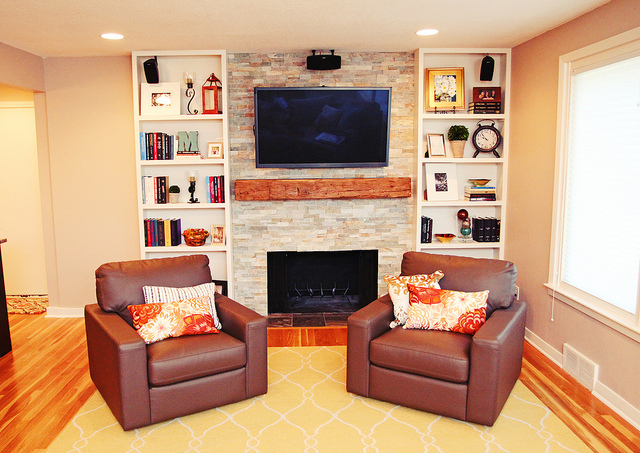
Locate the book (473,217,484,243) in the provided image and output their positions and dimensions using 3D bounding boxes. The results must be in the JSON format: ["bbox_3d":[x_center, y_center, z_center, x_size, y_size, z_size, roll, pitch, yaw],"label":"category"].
[{"bbox_3d":[1.848,0.044,5.521,0.163,0.241,0.269,2,7,5],"label":"book"}]

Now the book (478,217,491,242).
[{"bbox_3d":[1.940,0.038,5.536,0.080,0.261,0.103,0,10,6],"label":"book"}]

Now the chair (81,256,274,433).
[{"bbox_3d":[-1.198,0.928,4.161,1.513,1.208,0.903,-6,11,-25],"label":"chair"}]

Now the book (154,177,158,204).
[{"bbox_3d":[-1.895,-0.413,5.445,0.047,0.293,0.025,0,10,6],"label":"book"}]

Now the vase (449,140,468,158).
[{"bbox_3d":[1.593,-0.898,5.555,0.229,0.182,0.204,0,4,-7],"label":"vase"}]

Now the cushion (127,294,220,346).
[{"bbox_3d":[-1.259,0.779,3.991,0.824,0.293,0.327,-4,32,-26],"label":"cushion"}]

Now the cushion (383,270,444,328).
[{"bbox_3d":[0.758,0.599,4.201,0.546,0.479,0.155,-6,-31,18],"label":"cushion"}]

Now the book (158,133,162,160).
[{"bbox_3d":[-1.825,-0.912,5.389,0.059,0.287,0.027,-2,10,-3],"label":"book"}]

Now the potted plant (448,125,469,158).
[{"bbox_3d":[1.593,-0.985,5.486,0.218,0.374,0.159,2,11,21],"label":"potted plant"}]

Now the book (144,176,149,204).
[{"bbox_3d":[-2.000,-0.412,5.432,0.046,0.305,0.046,-1,10,4],"label":"book"}]

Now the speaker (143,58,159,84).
[{"bbox_3d":[-1.883,-1.728,5.288,0.154,0.250,0.159,-5,11,-21],"label":"speaker"}]

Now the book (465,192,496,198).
[{"bbox_3d":[1.855,-0.359,5.490,0.334,0.055,0.089,0,9,9],"label":"book"}]

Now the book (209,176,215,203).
[{"bbox_3d":[-1.247,-0.424,5.450,0.054,0.287,0.024,-2,10,-2],"label":"book"}]

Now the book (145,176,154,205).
[{"bbox_3d":[-1.958,-0.414,5.437,0.110,0.306,0.054,-5,11,-17],"label":"book"}]

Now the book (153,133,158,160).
[{"bbox_3d":[-1.876,-0.908,5.383,0.047,0.294,0.037,-1,10,1],"label":"book"}]

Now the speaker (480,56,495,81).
[{"bbox_3d":[1.873,-1.773,5.328,0.141,0.262,0.198,1,10,15],"label":"speaker"}]

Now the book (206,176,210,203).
[{"bbox_3d":[-1.299,-0.421,5.453,0.059,0.293,0.033,4,12,26],"label":"book"}]

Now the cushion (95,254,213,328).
[{"bbox_3d":[-1.441,0.610,4.315,1.100,0.631,0.368,-6,-14,-15],"label":"cushion"}]

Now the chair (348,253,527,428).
[{"bbox_3d":[1.069,0.914,4.241,1.469,0.965,1.495,-13,16,-35],"label":"chair"}]

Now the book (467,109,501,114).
[{"bbox_3d":[1.875,-1.306,5.413,0.344,0.058,0.115,0,9,6],"label":"book"}]

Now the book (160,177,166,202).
[{"bbox_3d":[-1.808,-0.428,5.460,0.070,0.281,0.014,-10,13,-39],"label":"book"}]

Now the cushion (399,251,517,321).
[{"bbox_3d":[1.244,0.574,4.434,1.099,0.604,0.363,4,11,22],"label":"cushion"}]

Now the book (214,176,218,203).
[{"bbox_3d":[-1.205,-0.424,5.453,0.038,0.287,0.027,0,11,9],"label":"book"}]

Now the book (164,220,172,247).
[{"bbox_3d":[-1.748,0.082,5.449,0.057,0.215,0.225,0,5,-9],"label":"book"}]

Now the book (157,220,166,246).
[{"bbox_3d":[-1.844,0.082,5.475,0.084,0.283,0.037,-4,11,-13],"label":"book"}]

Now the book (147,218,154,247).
[{"bbox_3d":[-1.977,0.078,5.469,0.043,0.304,0.034,-2,10,-3],"label":"book"}]

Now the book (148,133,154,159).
[{"bbox_3d":[-1.928,-0.914,5.380,0.073,0.280,0.036,-3,10,-7],"label":"book"}]

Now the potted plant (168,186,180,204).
[{"bbox_3d":[-1.680,-0.357,5.489,0.201,0.248,0.187,0,8,-14],"label":"potted plant"}]

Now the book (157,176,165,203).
[{"bbox_3d":[-1.852,-0.417,5.447,0.052,0.300,0.034,-3,11,-9],"label":"book"}]
